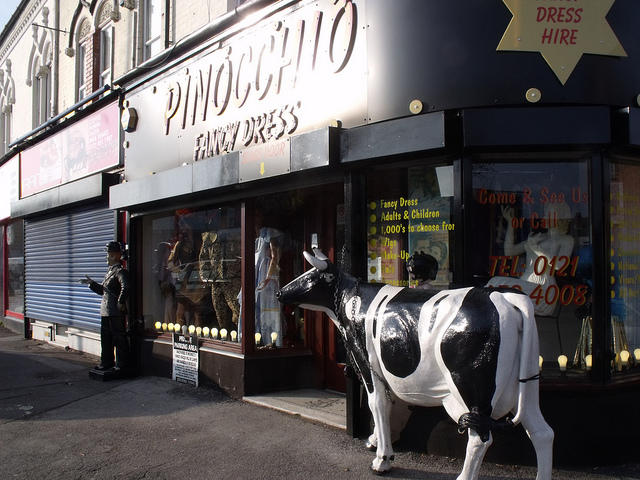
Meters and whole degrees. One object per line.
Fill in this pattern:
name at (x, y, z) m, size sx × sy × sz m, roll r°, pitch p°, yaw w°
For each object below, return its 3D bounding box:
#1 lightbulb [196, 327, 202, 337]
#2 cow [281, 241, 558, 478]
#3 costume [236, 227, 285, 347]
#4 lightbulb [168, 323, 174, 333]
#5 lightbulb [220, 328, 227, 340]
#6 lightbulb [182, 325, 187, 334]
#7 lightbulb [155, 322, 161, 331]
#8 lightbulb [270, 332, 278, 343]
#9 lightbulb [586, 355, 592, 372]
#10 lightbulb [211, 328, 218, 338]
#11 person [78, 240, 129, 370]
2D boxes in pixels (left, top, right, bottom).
lightbulb at (-1.924, 1.459, 10.703) m, size 0.051 × 0.131 × 0.149 m, roll -4°, pitch 4°, yaw -33°
cow at (1.214, 1.365, 7.541) m, size 2.061 × 1.774 × 0.765 m, roll 3°, pitch 5°, yaw 36°
costume at (-0.812, 0.638, 10.209) m, size 0.566 × 1.987 × 0.659 m, roll -1°, pitch 10°, yaw -41°
lightbulb at (-2.500, 1.473, 11.281) m, size 0.107 × 0.189 × 0.114 m, roll 0°, pitch 0°, yaw -29°
lightbulb at (-1.483, 1.451, 10.354) m, size 0.113 × 0.192 × 0.113 m, roll 1°, pitch -5°, yaw 4°
lightbulb at (-2.207, 1.462, 10.970) m, size 0.087 × 0.205 × 0.099 m, roll 0°, pitch -5°, yaw -5°
lightbulb at (-2.788, 1.476, 11.563) m, size 0.098 × 0.174 × 0.105 m, roll -1°, pitch -6°, yaw 29°
lightbulb at (-0.668, 1.458, 9.984) m, size 0.102 × 0.186 × 0.110 m, roll 0°, pitch 0°, yaw -24°
lightbulb at (3.149, 1.447, 7.873) m, size 0.063 × 0.193 × 0.042 m, roll 0°, pitch 4°, yaw 28°
lightbulb at (-1.637, 1.459, 10.474) m, size 0.105 × 0.188 × 0.109 m, roll 1°, pitch -3°, yaw 16°
person at (-3.371, 1.090, 11.183) m, size 0.698 × 2.100 × 0.480 m, roll 1°, pitch 4°, yaw 35°
